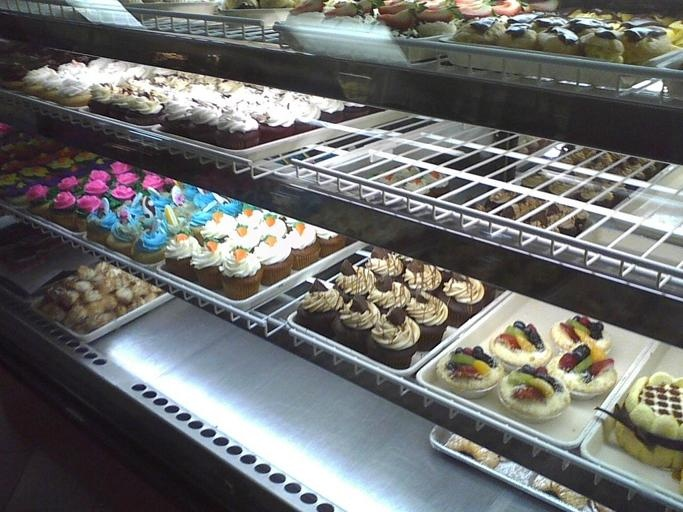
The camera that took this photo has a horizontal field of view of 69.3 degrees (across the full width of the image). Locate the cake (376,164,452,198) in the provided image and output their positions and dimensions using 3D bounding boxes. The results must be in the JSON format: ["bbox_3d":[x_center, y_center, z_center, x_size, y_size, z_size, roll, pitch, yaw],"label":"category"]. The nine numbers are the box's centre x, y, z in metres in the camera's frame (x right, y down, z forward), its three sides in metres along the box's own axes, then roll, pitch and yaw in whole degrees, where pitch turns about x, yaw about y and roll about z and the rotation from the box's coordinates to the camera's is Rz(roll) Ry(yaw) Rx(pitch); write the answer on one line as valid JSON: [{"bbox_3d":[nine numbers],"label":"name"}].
[{"bbox_3d":[0.203,-0.196,1.282,0.122,0.028,0.124,18,30,34],"label":"cake"}]

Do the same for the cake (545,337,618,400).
[{"bbox_3d":[0.673,0.321,1.403,0.161,0.081,0.153,-16,27,-8],"label":"cake"}]

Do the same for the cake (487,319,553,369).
[{"bbox_3d":[0.529,0.268,1.465,0.139,0.057,0.139,-14,28,-9],"label":"cake"}]

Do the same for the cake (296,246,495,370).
[{"bbox_3d":[0.175,0.182,1.613,0.558,0.148,0.406,17,39,35],"label":"cake"}]

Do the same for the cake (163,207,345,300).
[{"bbox_3d":[-0.359,-0.076,1.986,0.555,0.142,0.486,-21,32,-40],"label":"cake"}]

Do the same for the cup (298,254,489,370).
[{"bbox_3d":[0.166,0.166,1.631,0.535,0.144,0.395,18,39,36],"label":"cup"}]
